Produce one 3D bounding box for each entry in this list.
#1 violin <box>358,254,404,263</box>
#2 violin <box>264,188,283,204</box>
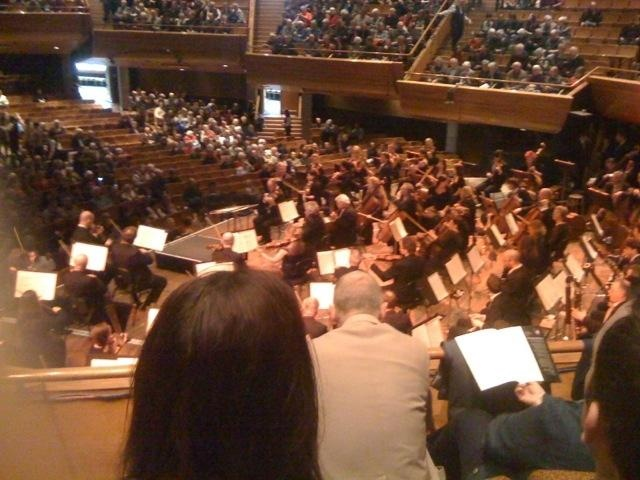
[{"bbox_3d":[1.110,0.342,8.856,0.663,0.080,0.409,3,16,4],"label":"violin"},{"bbox_3d":[-1.040,-0.948,10.693,0.304,0.152,0.392,1,-1,15],"label":"violin"}]
